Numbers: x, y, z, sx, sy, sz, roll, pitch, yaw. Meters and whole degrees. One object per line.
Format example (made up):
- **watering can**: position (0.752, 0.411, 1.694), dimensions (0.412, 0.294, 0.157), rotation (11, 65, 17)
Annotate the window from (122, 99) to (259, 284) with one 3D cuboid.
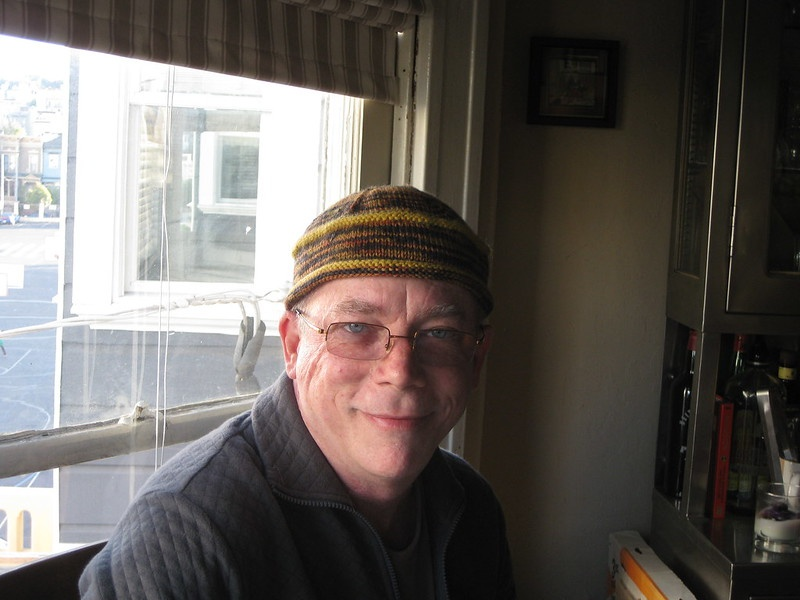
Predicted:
- **window**: position (-0.574, -0.301, 2.036), dimensions (0.023, 0.587, 0.412), rotation (13, 16, 42)
